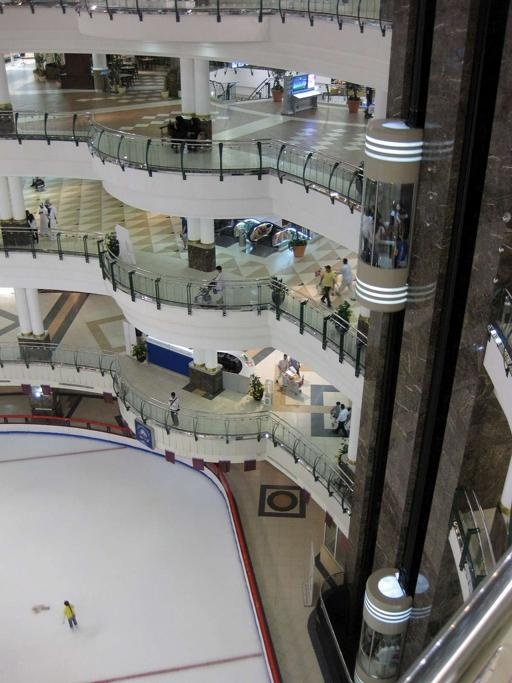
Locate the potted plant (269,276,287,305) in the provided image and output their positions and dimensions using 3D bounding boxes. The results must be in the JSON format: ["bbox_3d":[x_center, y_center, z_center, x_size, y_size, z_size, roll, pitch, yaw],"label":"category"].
[{"bbox_3d":[0.610,-1.276,15.329,0.263,0.700,0.624,-20,33,-32],"label":"potted plant"}]

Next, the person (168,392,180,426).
[{"bbox_3d":[-2.474,2.065,17.408,0.303,1.017,0.480,-6,28,-9],"label":"person"}]

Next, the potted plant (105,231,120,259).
[{"bbox_3d":[-4.372,-2.900,17.508,0.380,0.539,0.993,-8,29,-13],"label":"potted plant"}]

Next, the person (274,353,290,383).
[{"bbox_3d":[0.852,0.883,19.271,0.453,0.811,1.046,0,28,3],"label":"person"}]

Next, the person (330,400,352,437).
[{"bbox_3d":[2.488,2.135,16.933,0.549,1.006,0.998,3,28,8],"label":"person"}]

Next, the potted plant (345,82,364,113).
[{"bbox_3d":[3.285,-8.171,19.401,0.506,0.818,1.457,3,29,8],"label":"potted plant"}]

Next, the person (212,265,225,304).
[{"bbox_3d":[-0.998,-1.496,15.486,0.319,1.012,0.393,-4,27,-4],"label":"person"}]

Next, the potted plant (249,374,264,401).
[{"bbox_3d":[-0.009,1.501,18.282,0.433,0.781,0.549,-9,36,-6],"label":"potted plant"}]

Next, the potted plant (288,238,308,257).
[{"bbox_3d":[1.379,-3.032,18.726,0.534,0.439,0.570,-1,46,3],"label":"potted plant"}]

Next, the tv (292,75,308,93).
[{"bbox_3d":[1.453,-8.439,18.976,0.262,0.518,1.573,6,30,14],"label":"tv"}]

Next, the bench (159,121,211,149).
[{"bbox_3d":[-1.851,-5.414,15.190,1.292,0.405,3.232,-4,29,-5],"label":"bench"}]
